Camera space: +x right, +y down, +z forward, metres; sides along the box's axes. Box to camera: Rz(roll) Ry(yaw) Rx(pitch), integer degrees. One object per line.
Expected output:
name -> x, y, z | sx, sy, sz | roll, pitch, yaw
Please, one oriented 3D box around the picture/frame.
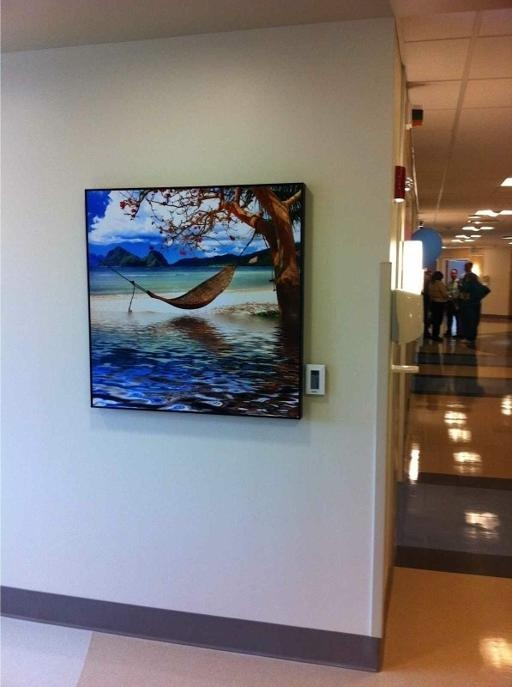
picture/frame -> -0.217, -0.194, 2.334 | 1.051, 0.992, 0.048 | 1, 8, 17
